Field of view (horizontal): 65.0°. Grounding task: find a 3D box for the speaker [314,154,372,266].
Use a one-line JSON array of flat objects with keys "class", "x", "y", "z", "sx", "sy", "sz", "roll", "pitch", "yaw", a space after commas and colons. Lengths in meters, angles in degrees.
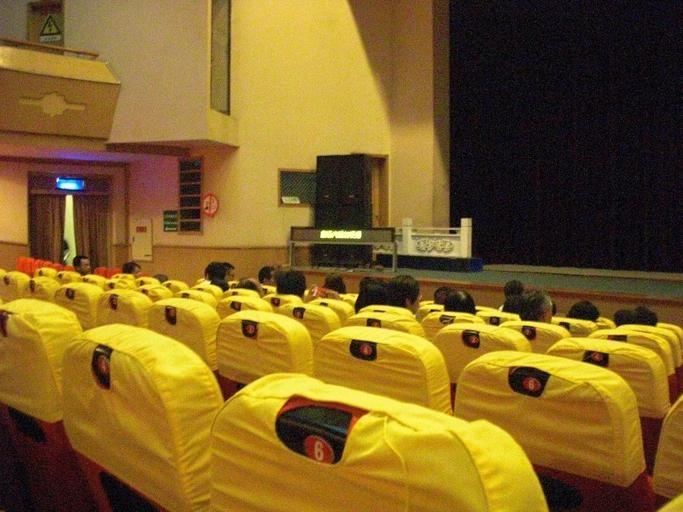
[{"class": "speaker", "x": -0.007, "y": -0.991, "z": 11.323, "sx": 1.219, "sy": 2.386, "sz": 0.839, "roll": 0, "pitch": 0, "yaw": 1}]
